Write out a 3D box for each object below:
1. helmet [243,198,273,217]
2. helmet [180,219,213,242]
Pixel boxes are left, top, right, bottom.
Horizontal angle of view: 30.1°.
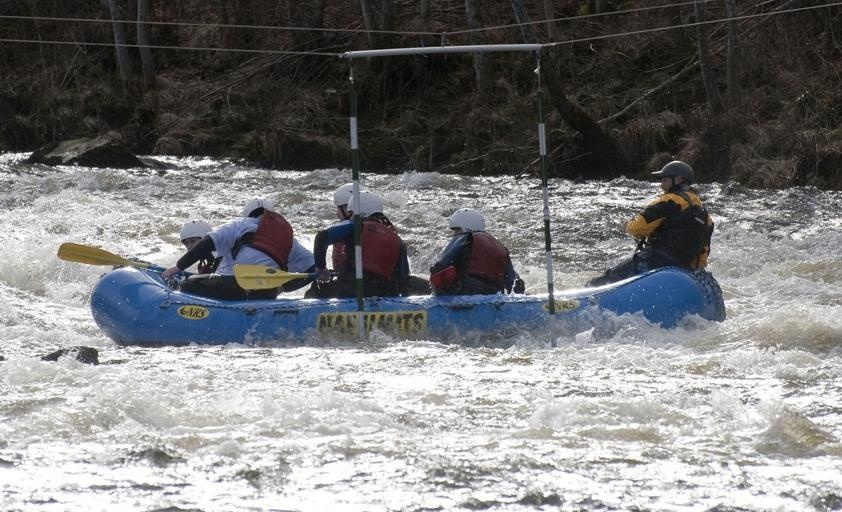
[{"bbox_3d":[-3.305,-0.938,31.638,0.449,0.472,0.513,13,14,-15],"label":"helmet"},{"bbox_3d":[-4.550,-0.498,31.738,0.601,0.402,0.404,5,-20,-10],"label":"helmet"}]
